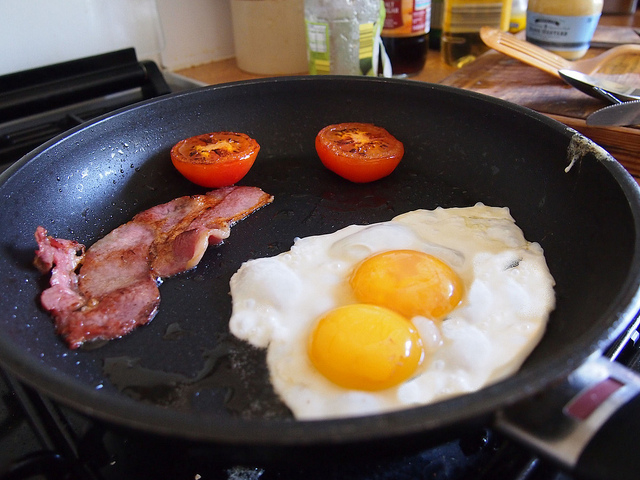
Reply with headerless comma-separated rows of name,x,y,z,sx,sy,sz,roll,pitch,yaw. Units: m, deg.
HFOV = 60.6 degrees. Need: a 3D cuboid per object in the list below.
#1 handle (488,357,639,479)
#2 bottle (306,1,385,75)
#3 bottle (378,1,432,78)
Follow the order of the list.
handle,0.395,0.289,0.857,0.226,0.030,0.125,-23,39,-18
bottle,0.078,-0.607,1.670,0.233,0.220,0.078,-3,39,0
bottle,0.306,-0.696,1.900,0.195,0.275,0.116,-10,40,-8
